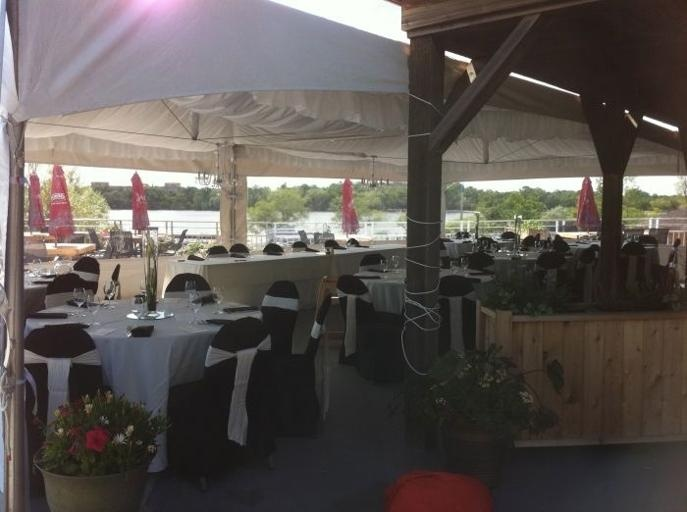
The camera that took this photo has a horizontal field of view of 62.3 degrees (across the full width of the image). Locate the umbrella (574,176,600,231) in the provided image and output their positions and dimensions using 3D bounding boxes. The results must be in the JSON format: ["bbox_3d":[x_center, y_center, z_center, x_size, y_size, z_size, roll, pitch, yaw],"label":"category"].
[{"bbox_3d":[5.868,-1.230,13.643,0.535,1.286,0.764,-1,4,-3],"label":"umbrella"}]

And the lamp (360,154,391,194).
[{"bbox_3d":[0.656,-1.762,12.250,0.688,0.990,0.759,0,10,2],"label":"lamp"}]
